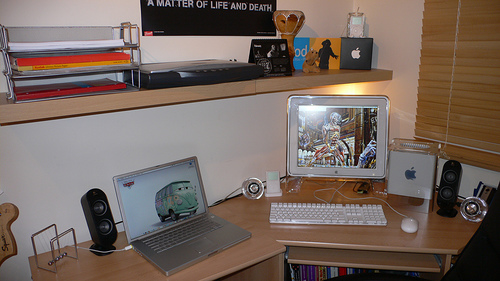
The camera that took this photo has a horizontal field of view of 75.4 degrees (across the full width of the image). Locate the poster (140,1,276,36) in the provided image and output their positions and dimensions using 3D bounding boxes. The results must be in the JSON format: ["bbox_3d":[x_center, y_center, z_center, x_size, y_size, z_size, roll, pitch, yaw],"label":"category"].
[{"bbox_3d":[-0.274,-0.894,2.372,1.040,0.245,0.047,-10,20,-23],"label":"poster"}]

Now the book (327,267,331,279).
[{"bbox_3d":[0.593,0.992,2.427,0.023,0.080,0.032,-8,20,-14],"label":"book"}]

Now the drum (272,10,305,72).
[{"bbox_3d":[0.296,-0.816,2.639,0.273,0.459,0.242,-2,23,0],"label":"drum"}]

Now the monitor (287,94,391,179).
[{"bbox_3d":[0.696,-0.026,2.609,0.882,0.667,0.086,0,2,-12],"label":"monitor"}]

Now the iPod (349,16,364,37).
[{"bbox_3d":[0.899,-0.966,2.734,0.114,0.171,0.065,2,20,12],"label":"iPod"}]

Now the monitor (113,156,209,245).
[{"bbox_3d":[-0.592,0.379,2.222,0.608,0.405,0.022,-16,-4,10],"label":"monitor"}]

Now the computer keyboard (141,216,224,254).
[{"bbox_3d":[-0.483,0.642,2.177,0.571,0.019,0.230,-14,22,-27],"label":"computer keyboard"}]

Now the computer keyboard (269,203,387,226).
[{"bbox_3d":[0.533,0.536,2.360,0.824,0.071,0.250,0,18,4],"label":"computer keyboard"}]

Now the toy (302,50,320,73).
[{"bbox_3d":[0.477,-0.618,2.545,0.162,0.189,0.168,-10,14,-34],"label":"toy"}]

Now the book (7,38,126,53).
[{"bbox_3d":[-1.025,-0.532,1.817,0.608,0.053,0.110,-5,18,-9],"label":"book"}]

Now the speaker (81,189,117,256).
[{"bbox_3d":[-0.980,0.524,2.141,0.141,0.358,0.192,-14,3,-31],"label":"speaker"}]

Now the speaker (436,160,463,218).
[{"bbox_3d":[1.435,0.349,2.331,0.157,0.433,0.148,1,2,40],"label":"speaker"}]

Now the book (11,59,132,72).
[{"bbox_3d":[-0.984,-0.427,1.823,0.574,0.040,0.034,-9,20,-21],"label":"book"}]

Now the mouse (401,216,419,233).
[{"bbox_3d":[1.079,0.573,2.184,0.101,0.074,0.076,6,20,23],"label":"mouse"}]
